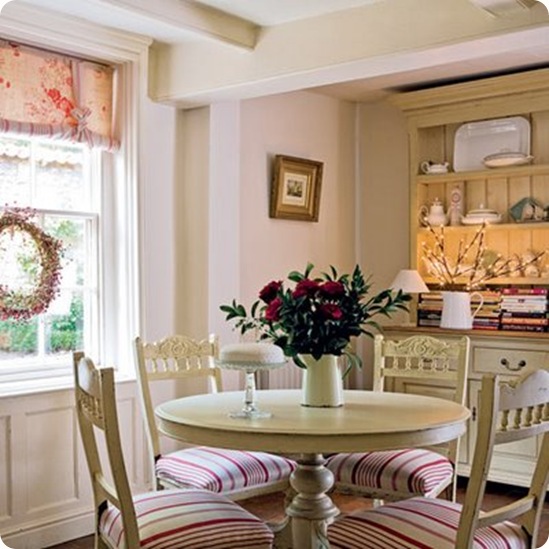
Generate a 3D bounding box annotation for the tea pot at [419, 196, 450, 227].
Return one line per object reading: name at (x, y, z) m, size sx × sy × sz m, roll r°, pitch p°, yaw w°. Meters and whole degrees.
tea pot at (1.205, -0.457, 3.897) m, size 0.286 × 0.199 × 0.168 m, roll -1°, pitch 2°, yaw -16°

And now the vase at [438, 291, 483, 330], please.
vase at (1.346, 0.256, 3.655) m, size 0.345 × 0.263 × 0.204 m, roll 1°, pitch -5°, yaw -14°

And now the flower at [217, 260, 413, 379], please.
flower at (0.134, 0.148, 1.665) m, size 0.553 × 0.247 × 0.369 m, roll -9°, pitch -4°, yaw 18°

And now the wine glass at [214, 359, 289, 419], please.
wine glass at (-0.081, 0.346, 1.597) m, size 0.202 × 0.118 × 0.194 m, roll -1°, pitch -2°, yaw 30°

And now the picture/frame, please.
picture/frame at (0.142, -0.646, 3.782) m, size 0.067 × 0.487 × 0.660 m, roll 6°, pitch 6°, yaw 43°

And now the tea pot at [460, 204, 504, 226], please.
tea pot at (1.485, -0.410, 3.666) m, size 0.232 × 0.106 × 0.185 m, roll 1°, pitch 5°, yaw 28°

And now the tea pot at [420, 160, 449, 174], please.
tea pot at (1.228, -0.818, 3.907) m, size 0.184 × 0.082 × 0.124 m, roll -1°, pitch 3°, yaw 0°

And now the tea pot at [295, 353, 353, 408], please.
tea pot at (0.180, 0.339, 1.666) m, size 0.200 × 0.154 × 0.148 m, roll 0°, pitch 1°, yaw 10°

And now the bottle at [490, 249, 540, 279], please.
bottle at (1.712, -0.073, 3.624) m, size 0.351 × 0.189 × 0.227 m, roll 1°, pitch 4°, yaw 24°

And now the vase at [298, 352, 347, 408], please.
vase at (0.172, 0.347, 1.692) m, size 0.172 × 0.153 × 0.165 m, roll -1°, pitch -8°, yaw 17°
